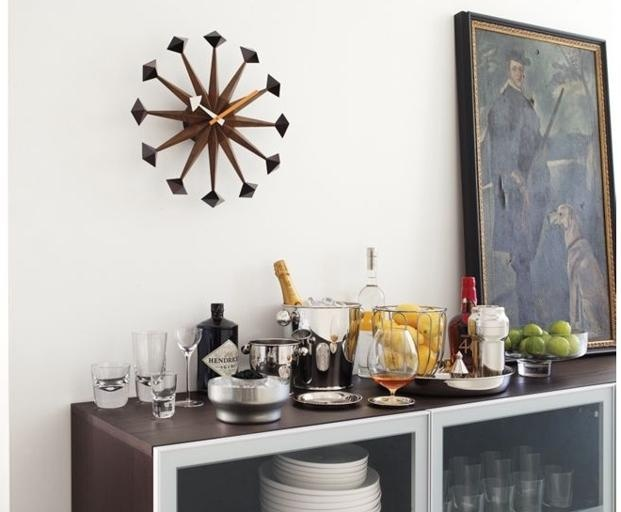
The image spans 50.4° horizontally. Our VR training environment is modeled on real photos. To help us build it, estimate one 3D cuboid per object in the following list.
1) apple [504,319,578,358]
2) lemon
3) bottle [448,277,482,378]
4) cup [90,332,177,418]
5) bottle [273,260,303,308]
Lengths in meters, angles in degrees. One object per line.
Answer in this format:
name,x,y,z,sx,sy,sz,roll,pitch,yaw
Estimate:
apple,0.770,0.279,2.181,0.237,0.126,0.109,-2,-1,-18
lemon,0.293,0.249,1.998,0.192,0.186,0.197,1,-4,-6
bottle,0.486,0.215,2.101,0.089,0.309,0.163,-3,-1,12
cup,-0.462,0.308,1.757,0.275,0.268,0.148,2,-5,-14
bottle,-0.069,0.078,2.024,0.079,0.138,0.210,-3,-1,-4
